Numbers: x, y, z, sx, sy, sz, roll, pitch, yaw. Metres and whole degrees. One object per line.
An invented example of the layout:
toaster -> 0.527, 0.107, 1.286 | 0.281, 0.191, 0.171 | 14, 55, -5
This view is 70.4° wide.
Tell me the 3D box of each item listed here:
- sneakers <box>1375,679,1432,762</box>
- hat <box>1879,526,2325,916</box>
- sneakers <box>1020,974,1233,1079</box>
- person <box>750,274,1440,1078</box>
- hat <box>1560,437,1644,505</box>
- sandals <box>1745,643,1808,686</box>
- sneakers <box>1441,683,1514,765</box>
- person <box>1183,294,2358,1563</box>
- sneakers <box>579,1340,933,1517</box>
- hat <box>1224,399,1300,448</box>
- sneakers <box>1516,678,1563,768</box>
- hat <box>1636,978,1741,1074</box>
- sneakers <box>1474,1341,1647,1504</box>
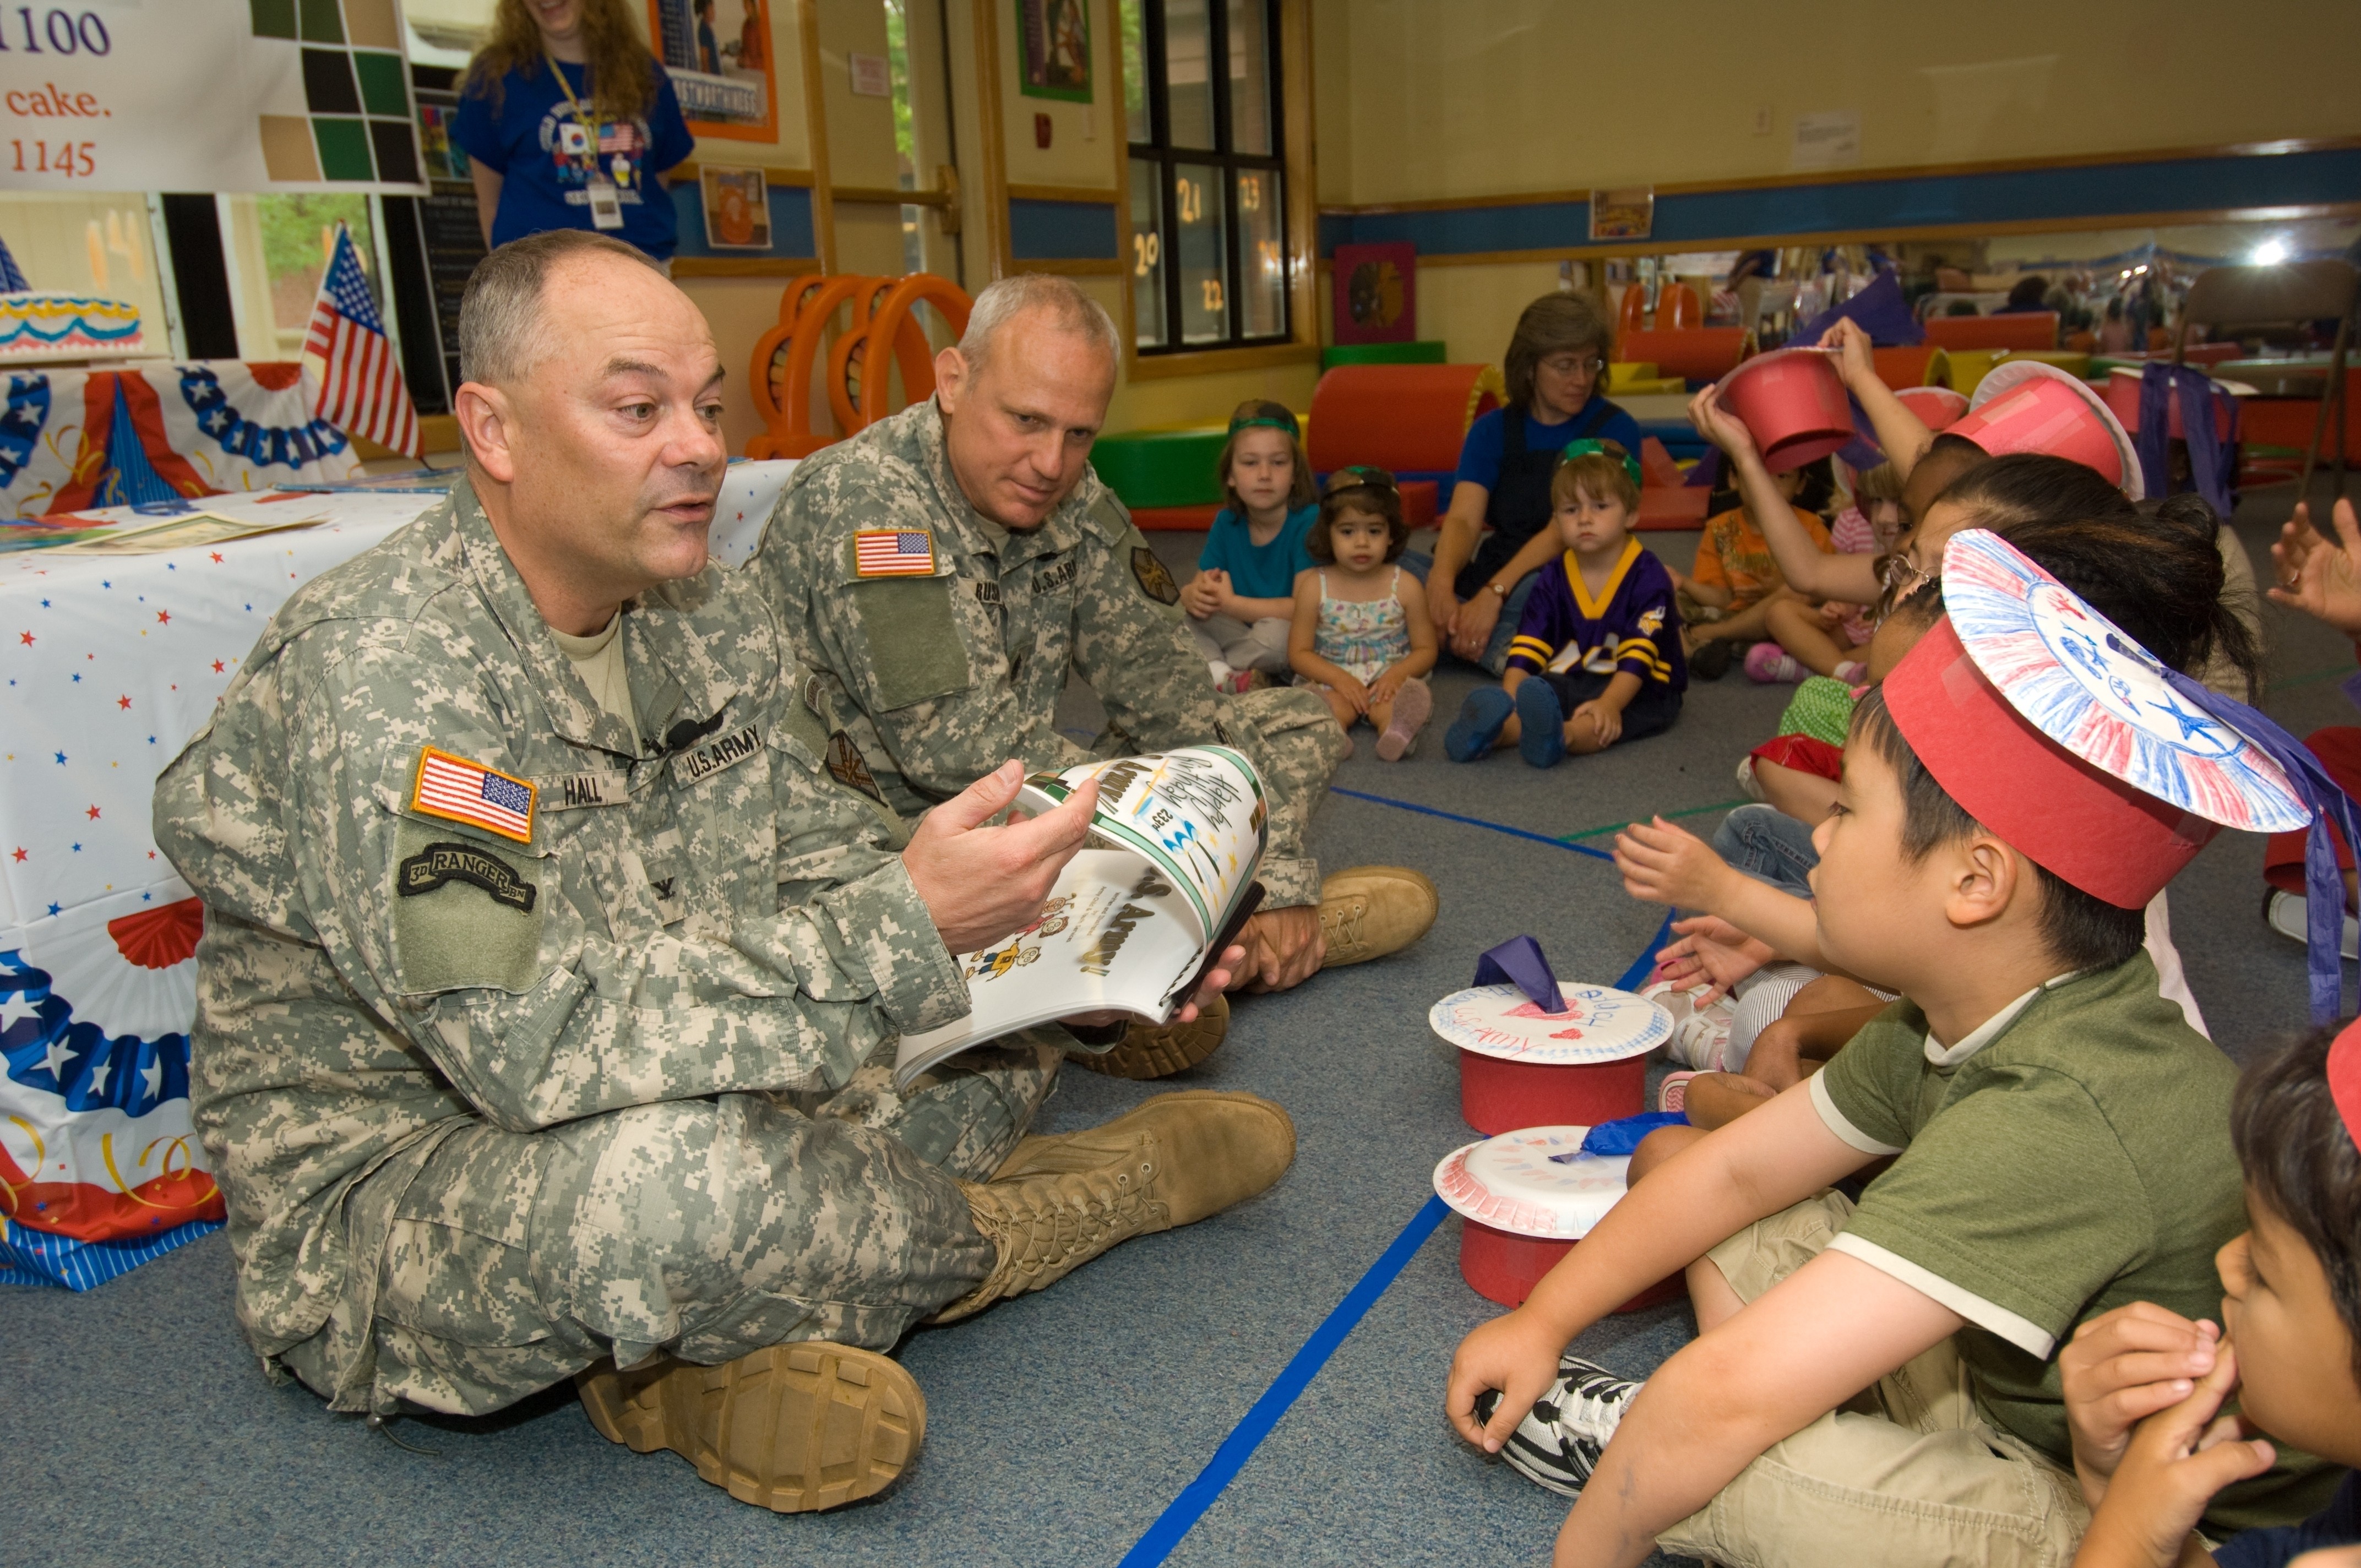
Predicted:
sneakers -> 0.532, -0.160, 4.047 | 0.117, 0.203, 0.086 | 25, 7, 9
hat -> 0.756, -0.037, 1.516 | 0.336, 0.124, 0.305 | 41, 27, 10
sneakers -> -0.106, 0.361, 2.474 | 0.341, 0.113, 0.134 | -8, -9, 14
person -> -0.155, -0.338, 3.063 | 1.335, 1.330, 1.088 | 13, 31, 31
hat -> 1.041, -0.770, 4.195 | 0.166, 0.173, 0.228 | -5, -20, 30
sandals -> 1.621, -0.326, 4.539 | 0.231, 0.125, 0.297 | 0, 4, 6
sneakers -> 0.708, -0.142, 3.996 | 0.089, 0.207, 0.117 | 2, 33, -48
person -> 0.686, 0.198, 2.081 | 1.086, 1.387, 1.043 | 9, 22, 30
sneakers -> -0.424, 0.650, 1.835 | 0.429, 0.152, 0.197 | 4, 0, 17
hat -> 0.217, -1.027, 4.635 | 0.176, 0.132, 0.174 | 4, 16, 12
sneakers -> 0.822, -0.148, 3.901 | 0.111, 0.196, 0.081 | 9, 11, 41
hat -> 0.753, 0.350, 2.468 | 0.105, 0.074, 0.163 | -26, 32, -11
sneakers -> 0.402, 0.660, 1.729 | 0.078, 0.098, 0.183 | 25, -22, -24
